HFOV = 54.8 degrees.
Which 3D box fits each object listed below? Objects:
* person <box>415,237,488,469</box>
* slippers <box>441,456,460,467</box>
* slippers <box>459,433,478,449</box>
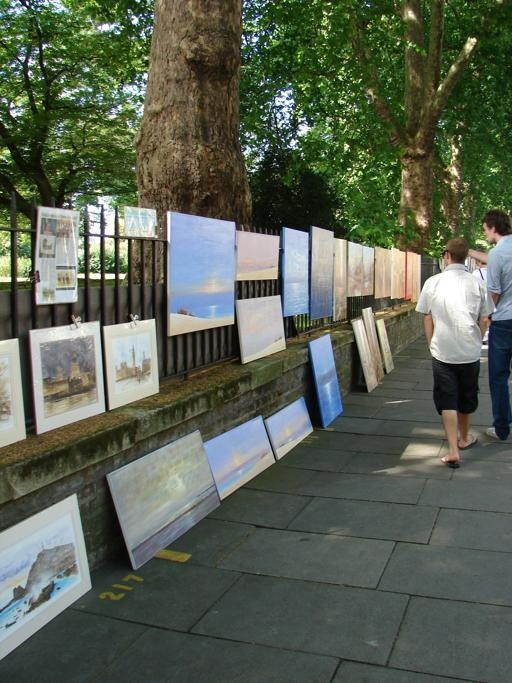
[{"bbox_3d":[1.802,0.069,4.529,0.670,2.090,0.474,0,-2,-30],"label":"person"},{"bbox_3d":[1.737,1.070,4.416,0.145,0.097,0.219,-1,-1,22],"label":"slippers"},{"bbox_3d":[2.123,0.984,4.948,0.111,0.155,0.252,8,23,40],"label":"slippers"}]
